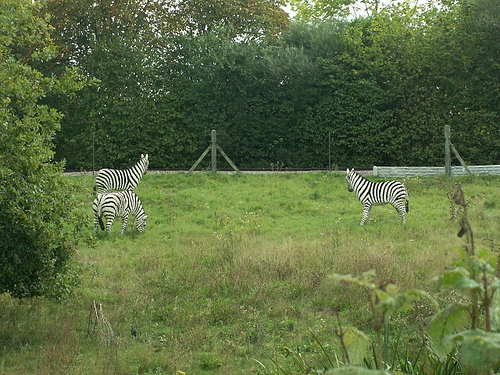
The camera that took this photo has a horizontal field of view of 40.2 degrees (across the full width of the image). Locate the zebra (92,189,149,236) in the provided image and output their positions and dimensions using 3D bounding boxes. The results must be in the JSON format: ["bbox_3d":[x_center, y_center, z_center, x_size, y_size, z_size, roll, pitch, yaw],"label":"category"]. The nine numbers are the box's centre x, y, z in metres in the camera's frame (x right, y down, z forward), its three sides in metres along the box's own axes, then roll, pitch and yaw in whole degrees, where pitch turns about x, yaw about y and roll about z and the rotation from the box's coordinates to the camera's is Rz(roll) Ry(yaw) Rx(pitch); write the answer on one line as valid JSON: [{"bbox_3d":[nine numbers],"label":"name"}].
[{"bbox_3d":[-4.063,0.867,21.943,1.670,1.480,0.744,5,1,-29],"label":"zebra"}]

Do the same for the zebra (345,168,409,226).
[{"bbox_3d":[4.331,0.349,23.289,1.521,1.431,0.496,3,9,28],"label":"zebra"}]
